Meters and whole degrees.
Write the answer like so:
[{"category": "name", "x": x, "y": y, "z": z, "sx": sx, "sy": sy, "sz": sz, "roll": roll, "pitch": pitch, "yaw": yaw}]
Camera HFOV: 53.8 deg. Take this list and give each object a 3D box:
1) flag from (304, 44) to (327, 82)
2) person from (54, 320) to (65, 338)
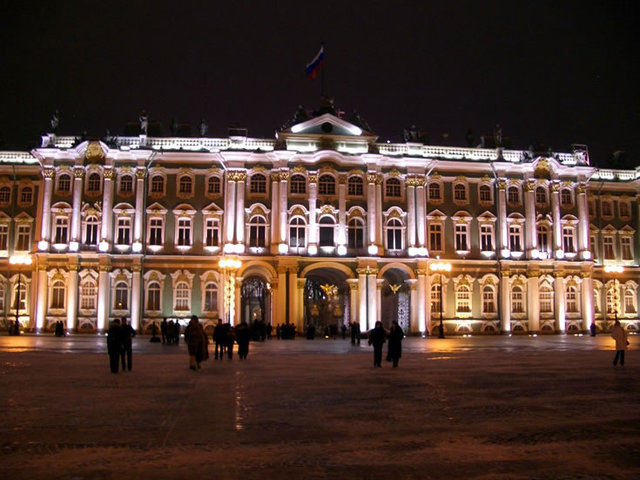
[{"category": "flag", "x": -0.377, "y": -14.908, "z": 53.563, "sx": 1.237, "sy": 0.814, "sz": 2.889, "roll": 4, "pitch": -27, "yaw": -19}, {"category": "person", "x": -19.902, "y": 6.714, "z": 48.409, "sx": 0.675, "sy": 1.170, "sz": 2.236, "roll": 3, "pitch": -10, "yaw": -22}]
